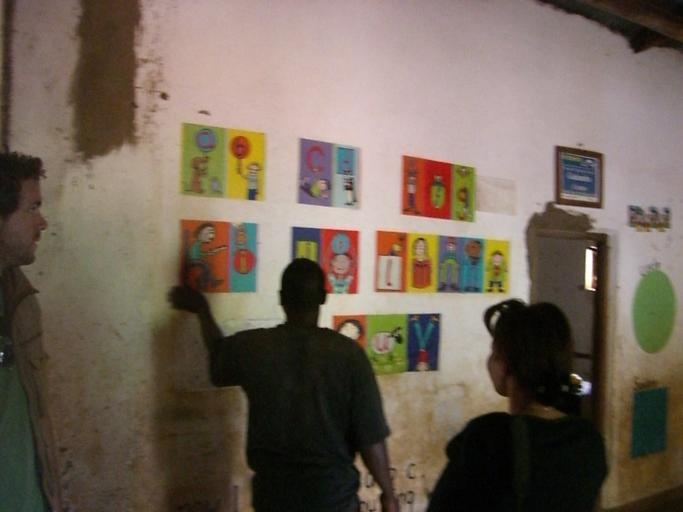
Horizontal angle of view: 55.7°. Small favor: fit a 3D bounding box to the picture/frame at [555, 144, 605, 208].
[{"bbox_3d":[1.481,-0.507,4.072,0.391,0.424,0.044,2,-4,-27],"label":"picture/frame"}]
